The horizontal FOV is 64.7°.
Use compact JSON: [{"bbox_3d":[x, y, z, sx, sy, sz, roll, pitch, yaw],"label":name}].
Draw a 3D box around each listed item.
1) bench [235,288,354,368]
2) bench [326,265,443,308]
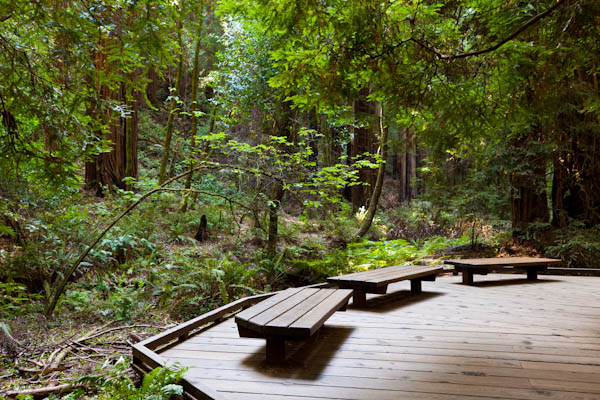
[{"bbox_3d":[-0.131,1.768,6.865,1.130,0.592,1.526,6,13,23],"label":"bench"},{"bbox_3d":[1.521,1.505,8.638,1.947,0.653,0.929,-10,17,-42],"label":"bench"}]
